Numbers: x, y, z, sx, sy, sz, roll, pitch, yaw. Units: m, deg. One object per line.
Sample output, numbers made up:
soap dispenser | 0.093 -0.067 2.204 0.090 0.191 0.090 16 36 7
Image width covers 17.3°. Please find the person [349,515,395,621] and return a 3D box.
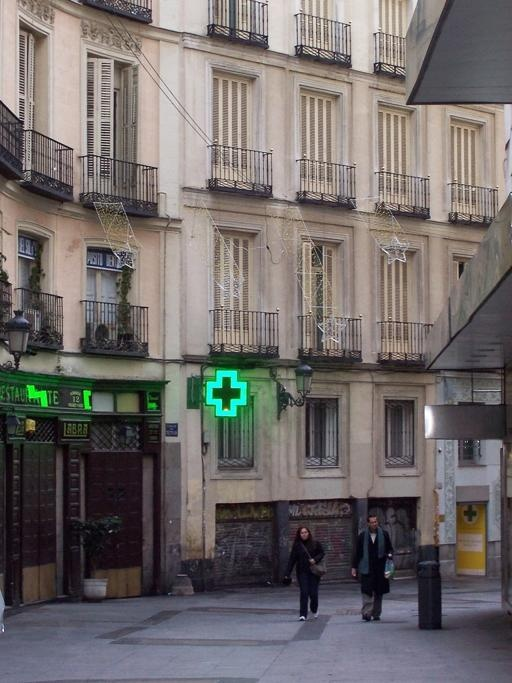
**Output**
person | 1.879 3.652 26.978 0.656 1.670 0.938 -2 -6 5

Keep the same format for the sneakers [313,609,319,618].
sneakers | 1.001 4.478 27.534 0.054 0.134 0.173 1 1 -4

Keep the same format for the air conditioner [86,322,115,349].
air conditioner | -3.004 -0.112 32.424 0.240 0.592 0.982 -5 -8 31

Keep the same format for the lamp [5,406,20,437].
lamp | -4.170 1.396 28.753 0.241 0.494 0.771 -1 -7 -9

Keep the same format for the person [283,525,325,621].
person | 0.811 3.848 27.866 0.620 1.521 2.291 -2 -7 1

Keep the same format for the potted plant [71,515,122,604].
potted plant | -2.991 4.030 31.229 0.899 1.537 1.253 -1 -7 -7

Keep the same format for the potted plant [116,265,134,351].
potted plant | -2.548 -0.672 33.069 0.483 1.665 0.325 2 -7 -34

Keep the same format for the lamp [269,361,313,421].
lamp | 0.801 0.940 35.447 0.689 1.608 0.523 -3 33 0
